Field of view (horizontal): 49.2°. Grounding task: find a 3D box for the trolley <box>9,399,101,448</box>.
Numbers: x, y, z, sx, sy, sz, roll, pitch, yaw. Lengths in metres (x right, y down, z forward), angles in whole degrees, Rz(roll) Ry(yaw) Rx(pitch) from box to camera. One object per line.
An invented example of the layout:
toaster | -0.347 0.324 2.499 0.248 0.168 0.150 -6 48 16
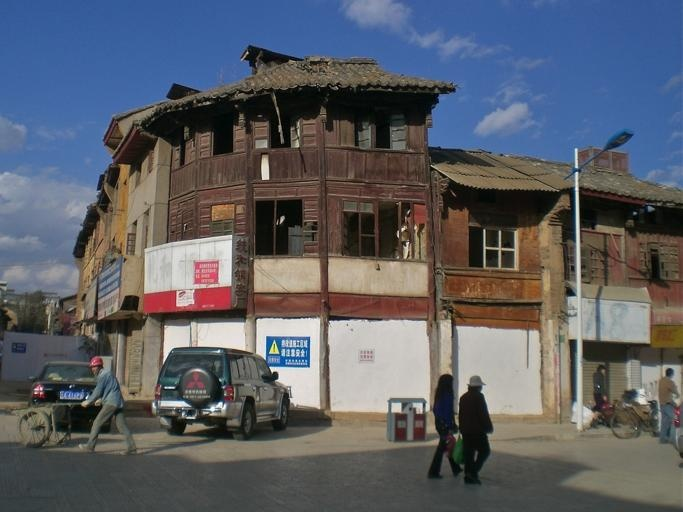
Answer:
trolley | -6.918 4.126 18.347 1.675 1.061 1.125 1 -6 4

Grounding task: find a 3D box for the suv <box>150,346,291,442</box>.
suv | -2.945 3.908 21.224 2.230 2.453 4.853 -8 -13 35

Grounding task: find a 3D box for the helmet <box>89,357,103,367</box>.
helmet | -5.844 2.527 17.819 0.352 0.201 0.264 -1 5 40

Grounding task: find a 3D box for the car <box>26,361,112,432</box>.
car | -7.388 3.717 19.953 1.400 1.188 3.173 0 -4 -13

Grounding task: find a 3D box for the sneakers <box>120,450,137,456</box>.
sneakers | -4.937 4.563 17.391 0.361 0.166 0.138 4 -13 3

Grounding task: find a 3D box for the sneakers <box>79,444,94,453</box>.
sneakers | -6.006 4.517 17.576 0.270 0.177 0.604 9 -14 -38

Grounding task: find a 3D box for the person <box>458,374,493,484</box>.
person | 2.883 3.726 16.051 0.676 2.260 0.348 -2 -11 8
